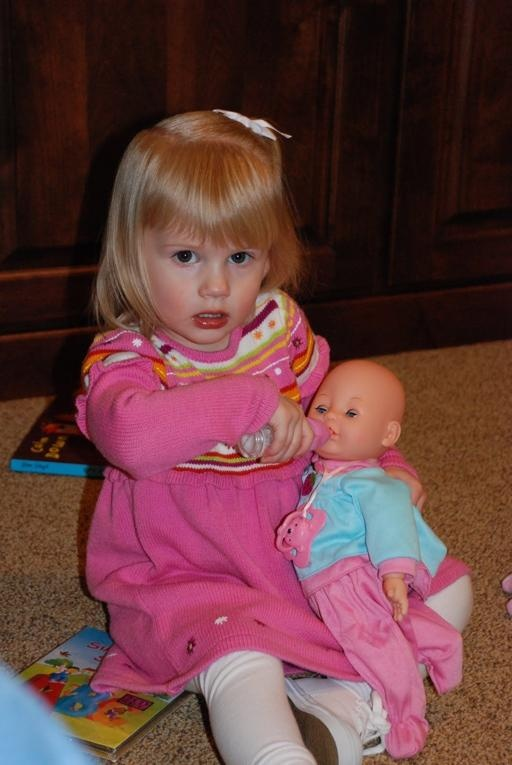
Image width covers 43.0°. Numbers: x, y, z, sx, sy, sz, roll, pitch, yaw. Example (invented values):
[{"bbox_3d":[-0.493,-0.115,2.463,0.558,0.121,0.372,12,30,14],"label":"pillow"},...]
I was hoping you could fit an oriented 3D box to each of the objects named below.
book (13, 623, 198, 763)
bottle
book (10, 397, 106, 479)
[{"bbox_3d":[-0.185,0.341,0.748,0.195,0.055,0.125,24,33,37],"label":"book"},{"bbox_3d":[0.026,0.058,0.728,0.088,0.037,0.046,-14,4,-42],"label":"bottle"},{"bbox_3d":[-0.383,0.115,1.245,0.186,0.024,0.126,8,35,11],"label":"book"}]
